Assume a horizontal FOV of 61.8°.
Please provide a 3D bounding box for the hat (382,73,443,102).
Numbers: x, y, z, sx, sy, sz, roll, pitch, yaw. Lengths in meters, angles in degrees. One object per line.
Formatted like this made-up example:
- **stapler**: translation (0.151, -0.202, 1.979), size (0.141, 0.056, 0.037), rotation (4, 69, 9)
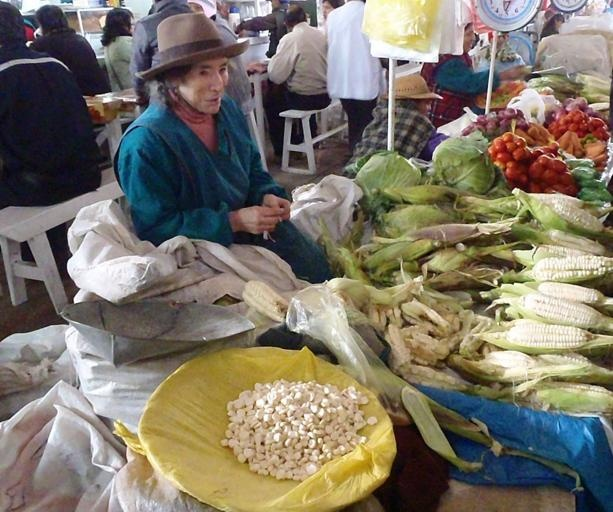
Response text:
- **hat**: translation (0.779, -1.256, 3.806), size (0.460, 0.135, 0.406), rotation (-5, 26, -5)

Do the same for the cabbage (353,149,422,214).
- **cabbage**: translation (0.416, -0.428, 2.752), size (0.341, 0.333, 0.359), rotation (1, 21, -1)

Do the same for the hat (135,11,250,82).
- **hat**: translation (-0.491, -0.914, 2.187), size (0.491, 0.316, 0.280), rotation (-13, 31, -28)
